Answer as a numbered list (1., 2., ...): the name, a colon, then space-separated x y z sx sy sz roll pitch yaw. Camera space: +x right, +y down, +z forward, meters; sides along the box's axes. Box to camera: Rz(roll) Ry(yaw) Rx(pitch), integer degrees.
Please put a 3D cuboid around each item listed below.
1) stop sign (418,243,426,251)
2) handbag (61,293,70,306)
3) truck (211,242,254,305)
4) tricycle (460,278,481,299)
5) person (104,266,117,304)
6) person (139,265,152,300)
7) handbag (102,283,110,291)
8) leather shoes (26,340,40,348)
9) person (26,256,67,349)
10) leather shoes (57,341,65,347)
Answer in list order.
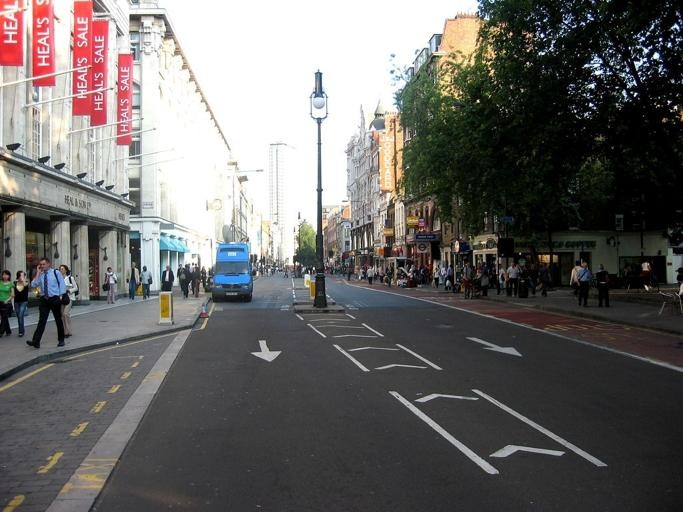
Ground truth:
1. stop sign: 5.233 -0.591 46.084 0.527 0.509 1.023 -2 -1 6
2. handbag: -6.963 1.090 17.954 0.199 0.451 0.243 3 6 -10
3. truck: -5.787 0.987 38.212 2.007 3.389 5.902 -1 -4 -8
4. tricycle: 6.863 1.724 37.620 0.593 0.955 1.391 -2 -4 2
5. person: -11.185 1.402 34.389 0.438 1.648 2.267 -2 -1 -19
6. person: -10.560 1.401 38.252 0.450 1.721 0.946 -2 0 -4
7. handbag: -11.344 1.454 34.327 0.213 0.336 0.417 -4 6 -23
8. leather shoes: -7.471 2.115 17.252 0.268 0.176 0.546 -2 -1 -25
9. person: -7.294 1.130 17.630 0.861 2.048 1.024 -2 0 -24
10. leather shoes: -6.895 2.145 17.494 0.097 0.106 0.228 0 -8 -8
